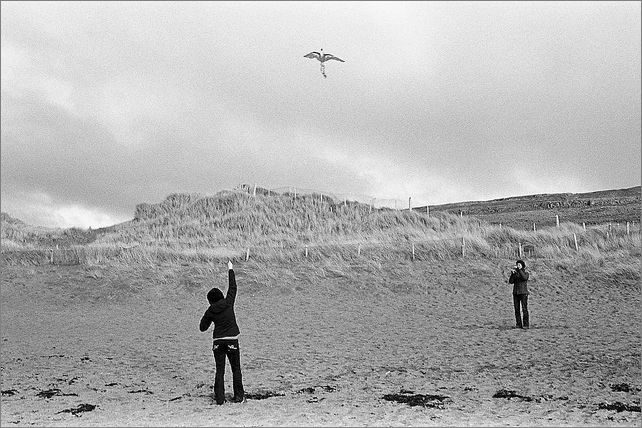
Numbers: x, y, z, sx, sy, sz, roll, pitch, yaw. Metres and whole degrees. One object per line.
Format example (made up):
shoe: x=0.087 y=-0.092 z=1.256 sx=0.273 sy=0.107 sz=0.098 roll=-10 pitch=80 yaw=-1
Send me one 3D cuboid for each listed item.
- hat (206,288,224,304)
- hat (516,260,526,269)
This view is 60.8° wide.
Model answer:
hat: x=-2.250 y=1.746 z=11.643 sx=0.364 sy=0.362 sz=0.257 roll=0 pitch=-16 yaw=3
hat: x=6.593 y=1.664 z=17.867 sx=0.257 sy=0.352 sz=0.606 roll=-6 pitch=-17 yaw=24
